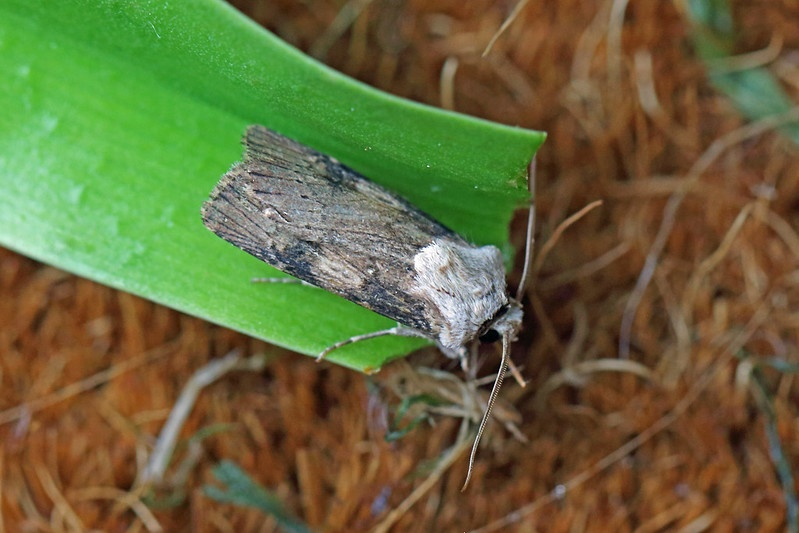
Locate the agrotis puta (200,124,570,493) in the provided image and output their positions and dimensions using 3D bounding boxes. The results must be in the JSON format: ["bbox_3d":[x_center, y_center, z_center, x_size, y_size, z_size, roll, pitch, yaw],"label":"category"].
[{"bbox_3d":[-0.112,-0.078,2.557,0.896,0.340,0.372,22,72,13],"label":"agrotis puta"}]
